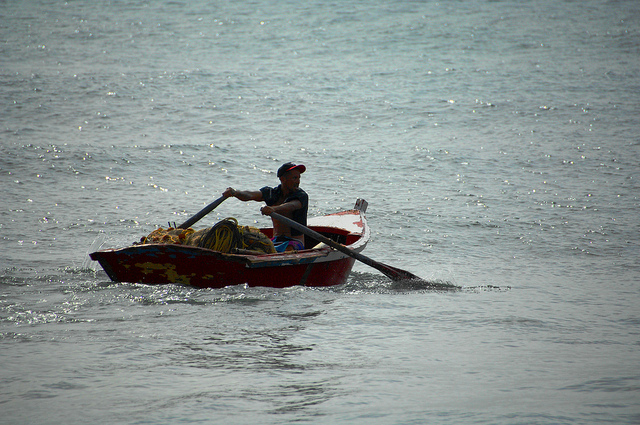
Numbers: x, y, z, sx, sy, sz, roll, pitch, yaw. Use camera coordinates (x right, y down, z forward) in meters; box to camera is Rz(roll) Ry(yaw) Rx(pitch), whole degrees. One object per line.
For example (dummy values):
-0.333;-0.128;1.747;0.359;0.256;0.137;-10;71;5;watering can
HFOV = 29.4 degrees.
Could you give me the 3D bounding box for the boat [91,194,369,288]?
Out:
-1.603;1.309;40.983;8.253;1.773;3.970;-10;21;-37;boat
